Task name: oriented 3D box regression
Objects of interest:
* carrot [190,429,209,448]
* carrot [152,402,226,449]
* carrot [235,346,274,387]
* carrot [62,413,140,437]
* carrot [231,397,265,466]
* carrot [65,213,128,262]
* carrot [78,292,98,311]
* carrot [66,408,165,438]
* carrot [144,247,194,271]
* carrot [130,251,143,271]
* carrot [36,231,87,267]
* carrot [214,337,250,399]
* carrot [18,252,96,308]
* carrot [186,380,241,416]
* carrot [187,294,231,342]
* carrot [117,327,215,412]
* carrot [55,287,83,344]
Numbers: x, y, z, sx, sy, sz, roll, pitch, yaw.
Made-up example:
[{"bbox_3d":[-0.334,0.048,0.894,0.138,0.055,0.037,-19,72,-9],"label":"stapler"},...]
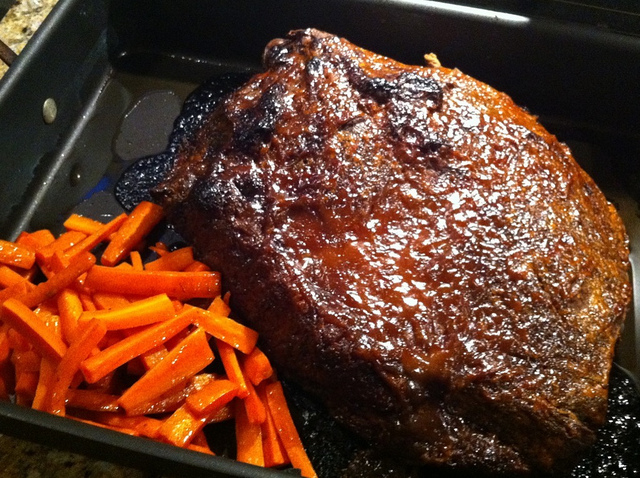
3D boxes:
[{"bbox_3d":[-0.546,0.908,3.035,0.090,0.020,0.061,29,56,-15],"label":"carrot"},{"bbox_3d":[-0.613,0.834,2.947,0.253,0.047,0.134,-36,66,-30],"label":"carrot"},{"bbox_3d":[-0.298,0.587,3.098,0.112,0.070,0.189,-41,80,4],"label":"carrot"},{"bbox_3d":[-0.933,0.797,2.846,0.327,0.073,0.045,12,56,12],"label":"carrot"},{"bbox_3d":[-0.329,0.893,3.108,0.129,0.086,0.311,-23,66,10],"label":"carrot"},{"bbox_3d":[-1.137,-0.006,3.435,0.465,0.067,0.109,-35,80,-34],"label":"carrot"},{"bbox_3d":[-1.103,0.297,3.143,0.058,0.027,0.103,-14,63,-23],"label":"carrot"},{"bbox_3d":[-0.894,0.802,2.894,0.345,0.088,0.050,11,105,3],"label":"carrot"},{"bbox_3d":[-0.746,0.107,3.295,0.217,0.074,0.098,-21,49,-2],"label":"carrot"},{"bbox_3d":[-0.921,0.102,3.320,0.048,0.038,0.141,-23,50,-7],"label":"carrot"},{"bbox_3d":[-1.315,0.035,3.359,0.148,0.057,0.271,25,44,35],"label":"carrot"},{"bbox_3d":[-0.404,0.598,3.073,0.077,0.088,0.360,-6,52,-29],"label":"carrot"},{"bbox_3d":[-1.238,0.197,3.142,0.404,0.064,0.089,-33,101,-15],"label":"carrot"},{"bbox_3d":[-0.484,0.730,3.036,0.226,0.058,0.122,-24,62,-7],"label":"carrot"},{"bbox_3d":[-0.527,0.366,3.169,0.203,0.056,0.194,-41,63,4],"label":"carrot"},{"bbox_3d":[-0.678,0.606,2.994,0.481,0.147,0.132,-38,68,-22],"label":"carrot"},{"bbox_3d":[-1.161,0.347,3.095,0.112,0.094,0.342,4,34,-27],"label":"carrot"}]
